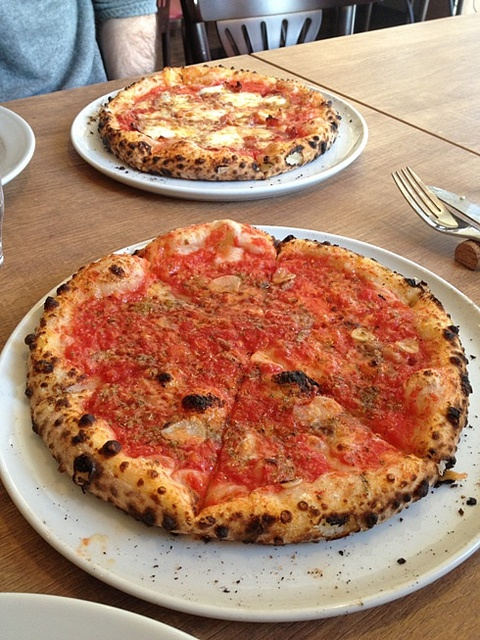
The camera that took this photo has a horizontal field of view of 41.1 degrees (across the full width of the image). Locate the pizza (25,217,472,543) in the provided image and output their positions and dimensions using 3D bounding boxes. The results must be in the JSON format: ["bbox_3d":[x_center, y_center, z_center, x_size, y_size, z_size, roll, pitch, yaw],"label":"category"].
[{"bbox_3d":[0.003,0.071,0.733,0.419,0.059,0.366,0,31,-3],"label":"pizza"}]
